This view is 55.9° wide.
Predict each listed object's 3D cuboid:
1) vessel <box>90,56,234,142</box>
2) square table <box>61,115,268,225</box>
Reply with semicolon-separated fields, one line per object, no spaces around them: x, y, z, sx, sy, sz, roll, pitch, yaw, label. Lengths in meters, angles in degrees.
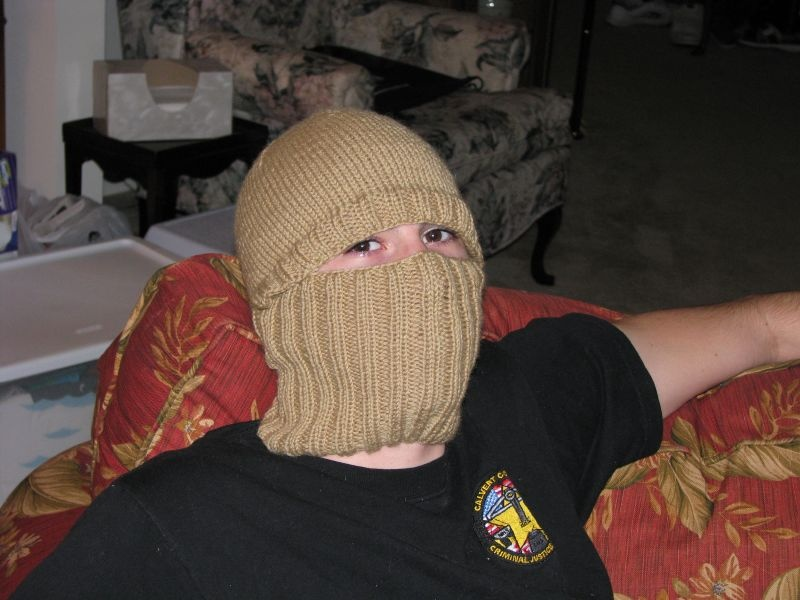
-0.739;-0.653;2.656;0.440;0.271;0.235;1;-7;12;vessel
-0.825;-0.594;2.634;0.468;0.471;0.468;-9;29;-35;square table
